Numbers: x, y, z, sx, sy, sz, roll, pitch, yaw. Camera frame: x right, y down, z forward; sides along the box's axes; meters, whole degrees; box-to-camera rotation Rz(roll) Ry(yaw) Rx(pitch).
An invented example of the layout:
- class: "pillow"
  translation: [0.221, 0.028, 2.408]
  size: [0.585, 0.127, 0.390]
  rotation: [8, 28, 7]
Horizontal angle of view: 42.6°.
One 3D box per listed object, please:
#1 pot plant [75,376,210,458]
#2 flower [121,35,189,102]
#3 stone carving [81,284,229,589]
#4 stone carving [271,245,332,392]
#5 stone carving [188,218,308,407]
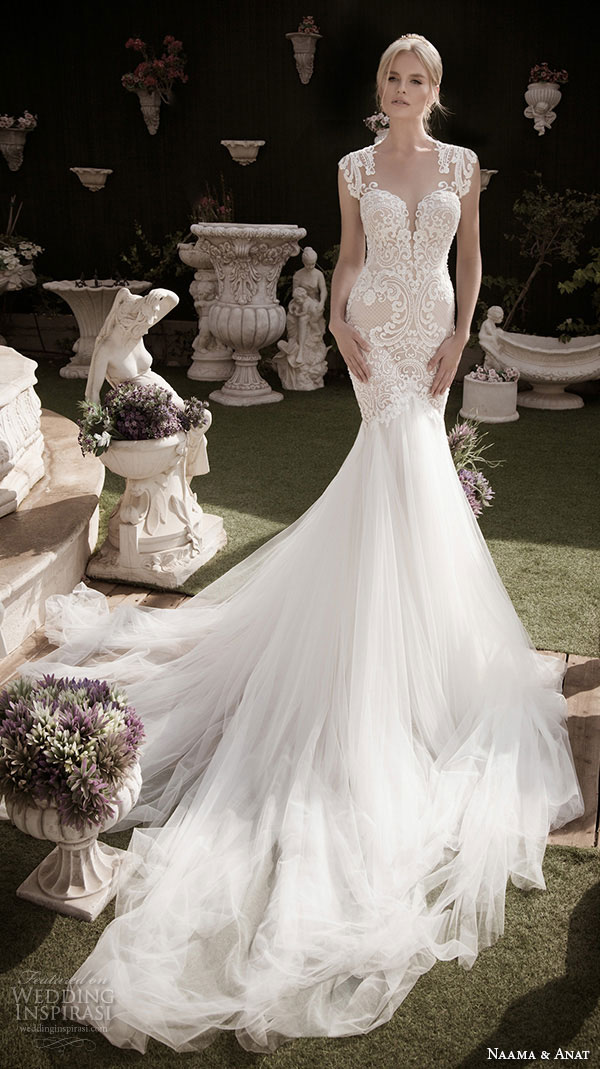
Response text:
- class: "pot plant"
  translation: [-0.655, -0.497, 3.162]
  size: [0.415, 0.250, 0.326]
  rotation: [-6, 21, -6]
- class: "flower"
  translation: [-1.354, -4.206, 7.142]
  size: [0.562, 0.602, 0.571]
  rotation: [-3, 10, 11]
- class: "stone carving"
  translation: [-0.651, -0.438, 3.301]
  size: [0.499, 1.179, 0.583]
  rotation: [8, 27, 15]
- class: "stone carving"
  translation: [-0.002, -1.873, 6.637]
  size: [0.427, 1.155, 0.385]
  rotation: [4, 31, 6]
- class: "stone carving"
  translation: [-0.458, -1.854, 6.494]
  size: [0.889, 1.449, 0.935]
  rotation: [8, 20, 7]
